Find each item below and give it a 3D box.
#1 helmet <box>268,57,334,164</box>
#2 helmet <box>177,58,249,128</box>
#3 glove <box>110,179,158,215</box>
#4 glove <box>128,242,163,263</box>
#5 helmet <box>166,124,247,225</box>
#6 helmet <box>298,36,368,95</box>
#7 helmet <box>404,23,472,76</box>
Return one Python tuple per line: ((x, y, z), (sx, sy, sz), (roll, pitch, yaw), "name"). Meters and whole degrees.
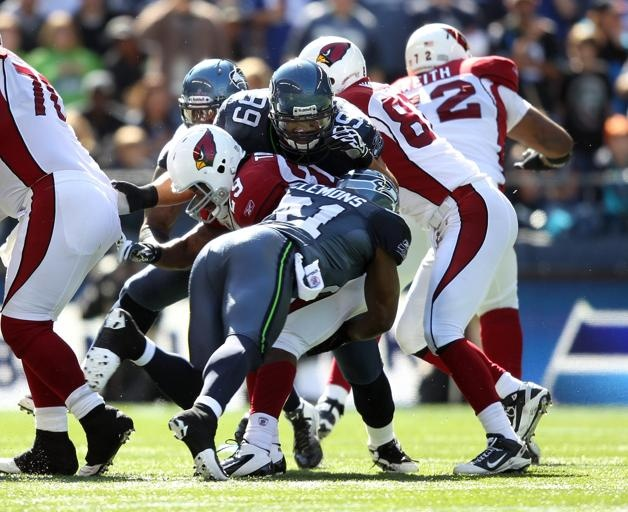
((-0.057, -0.623, 3.792), (0.263, 0.343, 0.403), (-2, 52, -2), "helmet")
((-0.518, -0.821, 4.503), (0.364, 0.381, 0.276), (-23, 11, -17), "helmet")
((-0.835, -0.284, 4.102), (0.107, 0.149, 0.307), (9, 13, 32), "glove")
((-0.773, -0.017, 3.906), (0.115, 0.056, 0.081), (10, -6, -36), "glove")
((-0.483, -0.349, 3.885), (0.339, 0.476, 0.265), (1, 11, -6), "helmet")
((0.069, -1.024, 4.696), (0.362, 0.322, 0.278), (-3, -10, -13), "helmet")
((0.694, -1.162, 4.849), (0.354, 0.291, 0.335), (4, 11, 8), "helmet")
